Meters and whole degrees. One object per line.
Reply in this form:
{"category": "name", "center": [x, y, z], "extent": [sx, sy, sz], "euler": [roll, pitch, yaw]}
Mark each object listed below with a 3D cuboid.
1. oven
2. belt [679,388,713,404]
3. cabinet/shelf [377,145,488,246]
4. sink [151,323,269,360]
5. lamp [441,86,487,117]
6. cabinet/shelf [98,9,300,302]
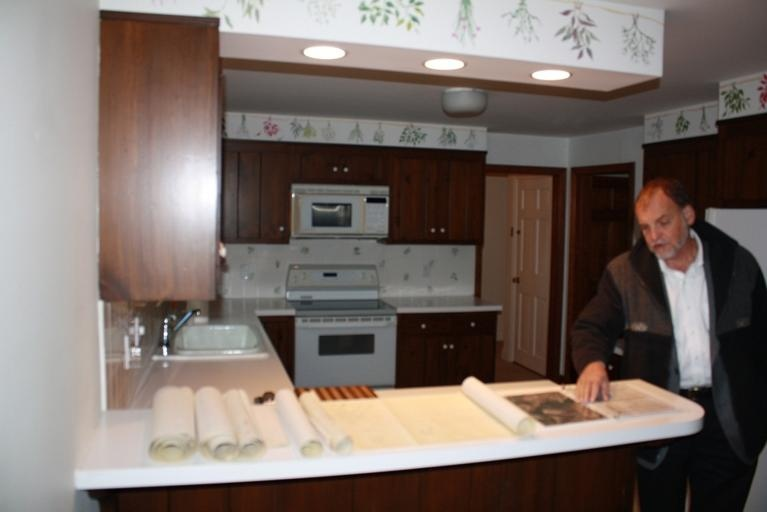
{"category": "oven", "center": [-0.350, 0.789, 4.821], "extent": [0.853, 0.553, 0.491], "euler": [0, 1, -6]}
{"category": "belt", "center": [1.443, 0.635, 2.495], "extent": [0.109, 0.044, 0.080], "euler": [-4, 1, -20]}
{"category": "cabinet/shelf", "center": [0.405, -0.559, 4.978], "extent": [0.863, 0.759, 0.339], "euler": [3, -3, -12]}
{"category": "sink", "center": [-1.027, 0.547, 3.296], "extent": [0.607, 0.177, 0.729], "euler": [-1, 3, -14]}
{"category": "lamp", "center": [0.578, -1.069, 3.756], "extent": [0.230, 0.177, 0.339], "euler": [-3, 4, -44]}
{"category": "cabinet/shelf", "center": [-0.884, -0.343, 3.103], "extent": [0.822, 2.148, 1.220], "euler": [-1, 4, -15]}
